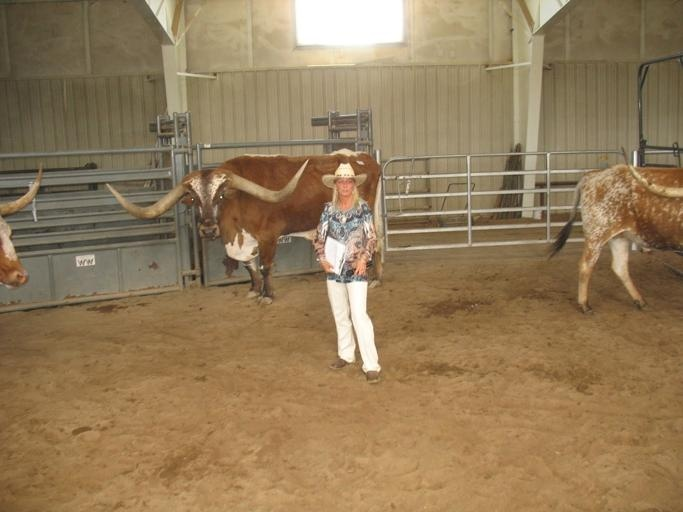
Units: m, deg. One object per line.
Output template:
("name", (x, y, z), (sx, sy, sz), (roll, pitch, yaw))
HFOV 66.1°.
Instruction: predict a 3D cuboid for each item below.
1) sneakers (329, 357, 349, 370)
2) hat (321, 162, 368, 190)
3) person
("sneakers", (-0.035, 0.999, 4.868), (0.079, 0.072, 0.157), (-5, -10, 37))
("hat", (-0.001, -0.704, 4.689), (0.331, 0.182, 0.423), (-2, -5, -1))
("person", (0.040, 0.145, 4.592), (0.587, 1.842, 0.435), (1, 13, 11))
